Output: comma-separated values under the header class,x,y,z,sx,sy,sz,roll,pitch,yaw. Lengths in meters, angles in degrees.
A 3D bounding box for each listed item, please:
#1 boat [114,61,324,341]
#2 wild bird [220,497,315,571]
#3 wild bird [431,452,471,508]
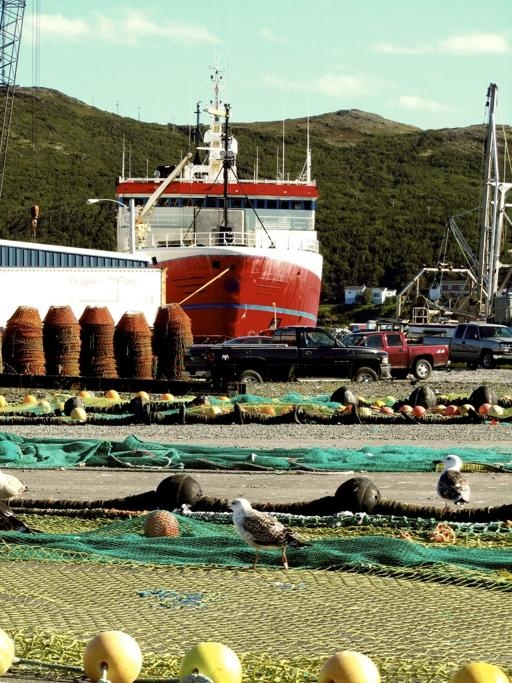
class,x,y,z,sx,sy,sz,roll,pitch,yaw
boat,-0.898,-4.448,41.248,6.230,8.367,8.677,2,3,-4
wild bird,0.001,1.239,8.802,0.666,0.540,0.312,3,-5,19
wild bird,1.567,1.110,10.578,0.237,0.385,0.356,3,3,11
